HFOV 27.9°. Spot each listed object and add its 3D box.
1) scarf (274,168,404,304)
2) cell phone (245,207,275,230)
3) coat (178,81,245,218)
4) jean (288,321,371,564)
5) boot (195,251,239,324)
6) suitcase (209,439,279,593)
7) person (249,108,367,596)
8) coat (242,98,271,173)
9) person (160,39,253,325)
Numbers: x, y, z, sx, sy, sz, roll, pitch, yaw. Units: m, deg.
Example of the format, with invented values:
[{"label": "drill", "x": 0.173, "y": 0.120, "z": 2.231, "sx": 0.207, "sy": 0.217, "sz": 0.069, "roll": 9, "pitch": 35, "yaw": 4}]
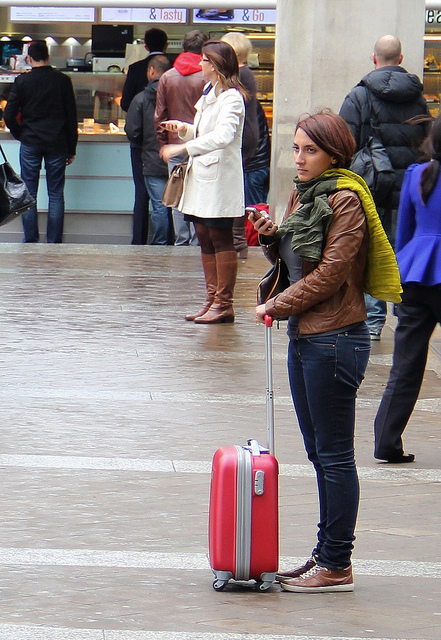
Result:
[{"label": "scarf", "x": 0.375, "y": -0.222, "z": 2.791, "sx": 0.455, "sy": 0.425, "sz": 0.394, "roll": 5, "pitch": 8, "yaw": 26}, {"label": "cell phone", "x": 0.117, "y": -0.324, "z": 2.821, "sx": 0.071, "sy": 0.022, "sz": 0.094, "roll": 33, "pitch": -5, "yaw": 41}, {"label": "coat", "x": -0.074, "y": -1.261, "z": 6.615, "sx": 0.516, "sy": 1.010, "sz": 0.446, "roll": 3, "pitch": 12, "yaw": -2}, {"label": "jean", "x": 0.324, "y": 0.367, "z": 2.747, "sx": 0.224, "sy": 0.730, "sz": 0.327, "roll": 1, "pitch": 12, "yaw": -10}, {"label": "boot", "x": -0.027, "y": -0.251, "z": 7.000, "sx": 0.342, "sy": 0.596, "sz": 0.265, "roll": 0, "pitch": 12, "yaw": -14}, {"label": "suitcase", "x": 0.065, "y": 0.600, "z": 2.646, "sx": 0.191, "sy": 0.439, "sz": 0.196, "roll": 2, "pitch": 12, "yaw": -3}, {"label": "person", "x": 0.274, "y": 0.090, "z": 2.750, "sx": 0.359, "sy": 1.443, "sz": 0.488, "roll": 0, "pitch": 12, "yaw": -15}, {"label": "coat", "x": 0.428, "y": -2.187, "z": 10.786, "sx": 0.293, "sy": 0.825, "sz": 0.811, "roll": 4, "pitch": 11, "yaw": 6}, {"label": "person", "x": -0.116, "y": -0.995, "z": 6.692, "sx": 0.567, "sy": 2.162, "sz": 0.628, "roll": 3, "pitch": 12, "yaw": 1}]
